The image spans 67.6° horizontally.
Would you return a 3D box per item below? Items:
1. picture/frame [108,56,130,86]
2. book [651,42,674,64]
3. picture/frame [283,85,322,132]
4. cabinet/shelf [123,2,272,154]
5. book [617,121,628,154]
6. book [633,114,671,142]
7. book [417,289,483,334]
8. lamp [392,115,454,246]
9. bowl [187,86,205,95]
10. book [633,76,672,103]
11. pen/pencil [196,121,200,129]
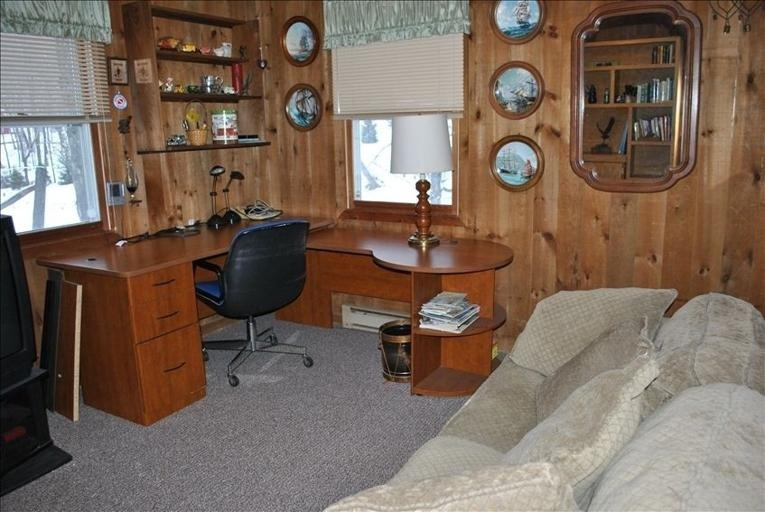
[{"bbox_3d":[-1.883,-1.306,4.063,0.049,0.179,0.174,6,16,22],"label":"picture/frame"},{"bbox_3d":[1.790,-1.286,3.667,0.119,0.141,0.152,5,11,21],"label":"book"},{"bbox_3d":[-0.670,-1.253,4.817,0.406,0.370,0.043,9,19,25],"label":"picture/frame"},{"bbox_3d":[-1.499,-1.431,4.496,0.389,1.134,1.311,5,12,30],"label":"cabinet/shelf"},{"bbox_3d":[1.612,-0.769,3.826,0.043,0.142,0.158,4,-5,17],"label":"book"},{"bbox_3d":[1.768,-0.838,3.748,0.222,0.161,0.043,4,16,16],"label":"book"},{"bbox_3d":[0.453,0.334,3.796,0.304,0.093,0.288,2,12,19],"label":"book"},{"bbox_3d":[0.253,-0.520,4.035,0.406,0.924,0.322,-5,16,-14],"label":"lamp"},{"bbox_3d":[-1.491,-1.310,4.527,0.110,0.042,0.111,2,-1,0],"label":"bowl"},{"bbox_3d":[1.760,-1.070,3.710,0.218,0.149,0.045,4,16,18],"label":"book"},{"bbox_3d":[-1.528,-1.073,4.693,0.026,0.022,0.110,-3,27,-14],"label":"pen/pencil"}]
